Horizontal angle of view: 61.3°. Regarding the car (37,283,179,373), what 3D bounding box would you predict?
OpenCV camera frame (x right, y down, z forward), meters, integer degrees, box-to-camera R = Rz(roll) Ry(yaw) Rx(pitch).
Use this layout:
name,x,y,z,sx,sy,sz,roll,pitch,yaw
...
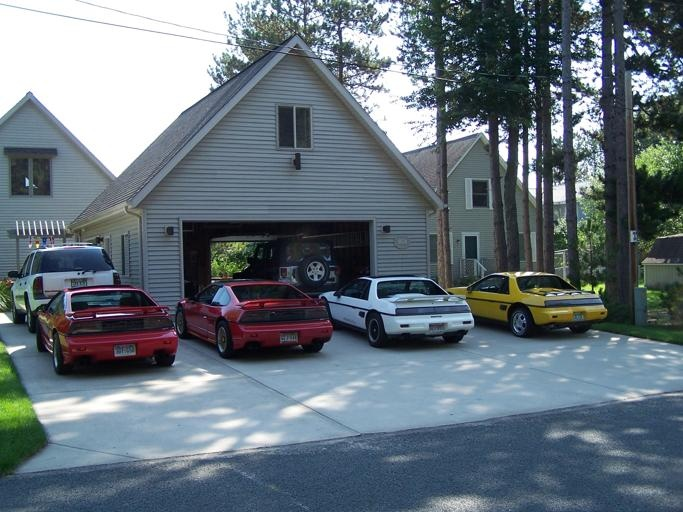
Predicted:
name,x,y,z,sx,sy,sz,roll,pitch,yaw
car,-4.671,1.482,11.547,2.759,1.673,1.885,0,3,-7

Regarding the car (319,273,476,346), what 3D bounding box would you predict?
name,x,y,z,sx,sy,sz,roll,pitch,yaw
car,1.420,1.334,14.701,1.924,1.653,3.350,-2,4,-37

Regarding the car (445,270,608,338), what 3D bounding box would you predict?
name,x,y,z,sx,sy,sz,roll,pitch,yaw
car,4.824,1.173,16.012,1.749,1.031,3.077,0,6,-26
